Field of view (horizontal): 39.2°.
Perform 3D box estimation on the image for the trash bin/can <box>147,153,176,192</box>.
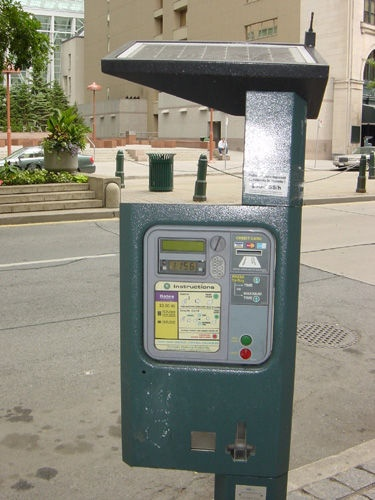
[{"bbox_3d":[-0.704,-2.081,14.583,0.724,0.986,0.706,0,3,16],"label":"trash bin/can"}]
